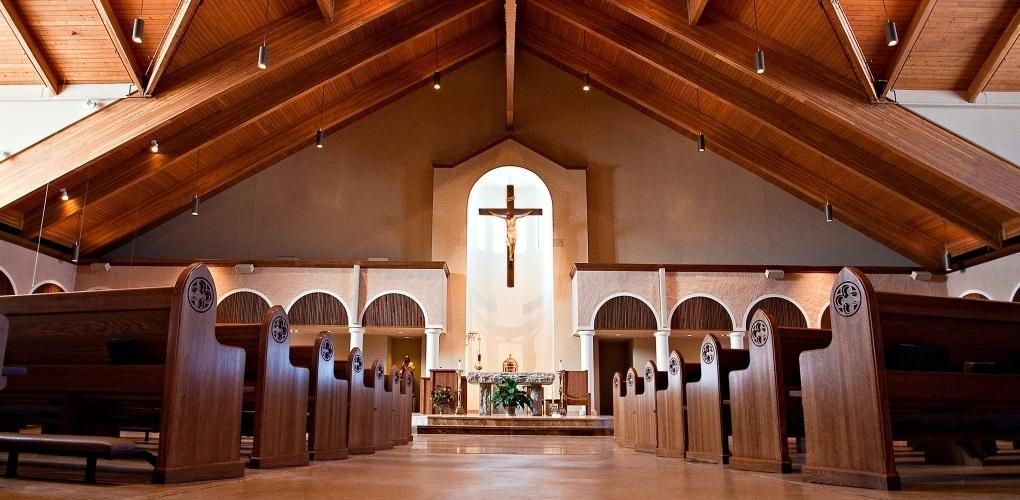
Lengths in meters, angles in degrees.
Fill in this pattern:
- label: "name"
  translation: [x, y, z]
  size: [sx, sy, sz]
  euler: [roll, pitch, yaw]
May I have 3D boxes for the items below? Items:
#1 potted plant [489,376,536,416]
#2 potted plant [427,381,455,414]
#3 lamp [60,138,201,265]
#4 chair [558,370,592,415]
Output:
- label: "potted plant"
  translation: [0.067, 3.666, 21.151]
  size: [1.058, 0.671, 0.984]
  euler: [1, -11, 3]
- label: "potted plant"
  translation: [-1.699, 3.842, 21.635]
  size: [0.787, 0.800, 0.709]
  euler: [0, -14, -3]
- label: "lamp"
  translation: [-9.825, -1.303, 21.614]
  size: [2.931, 3.249, 1.399]
  euler: [5, -36, 3]
- label: "chair"
  translation: [1.730, 3.716, 22.495]
  size: [1.076, 1.375, 0.960]
  euler: [0, -16, -2]
